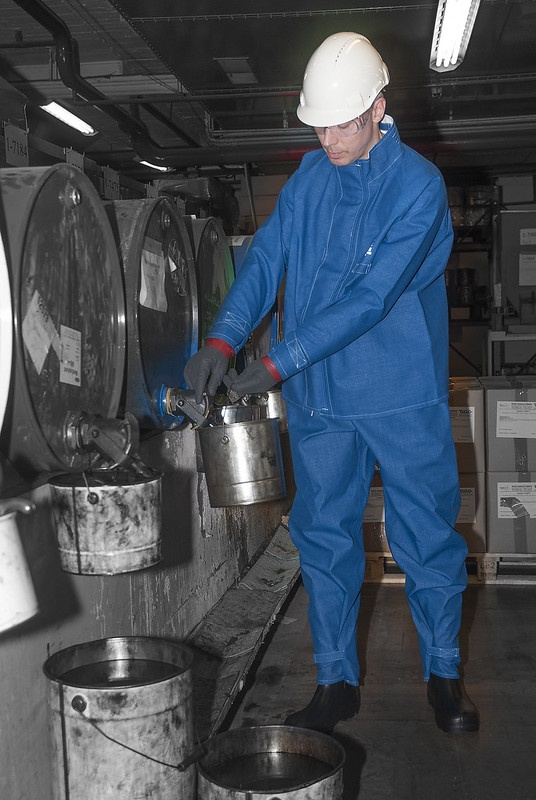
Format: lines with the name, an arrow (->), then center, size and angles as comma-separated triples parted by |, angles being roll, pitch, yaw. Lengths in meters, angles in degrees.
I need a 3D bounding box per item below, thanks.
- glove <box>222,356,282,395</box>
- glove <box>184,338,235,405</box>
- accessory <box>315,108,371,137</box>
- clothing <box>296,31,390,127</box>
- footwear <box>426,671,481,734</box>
glove -> -0.049, -0.060, 1.673 | 0.104, 0.087, 0.180 | 0, -1, -27
glove -> -0.165, -0.078, 1.741 | 0.118, 0.170, 0.121 | -1, -1, -6
accessory -> 0.194, -0.677, 1.607 | 0.076, 0.020, 0.084 | 23, 56, 35
clothing -> 0.182, -0.846, 1.654 | 0.234, 0.159, 0.304 | 21, 53, 24
footwear -> 0.522, 0.857, 1.849 | 0.106, 0.163, 0.168 | -5, -20, -19
